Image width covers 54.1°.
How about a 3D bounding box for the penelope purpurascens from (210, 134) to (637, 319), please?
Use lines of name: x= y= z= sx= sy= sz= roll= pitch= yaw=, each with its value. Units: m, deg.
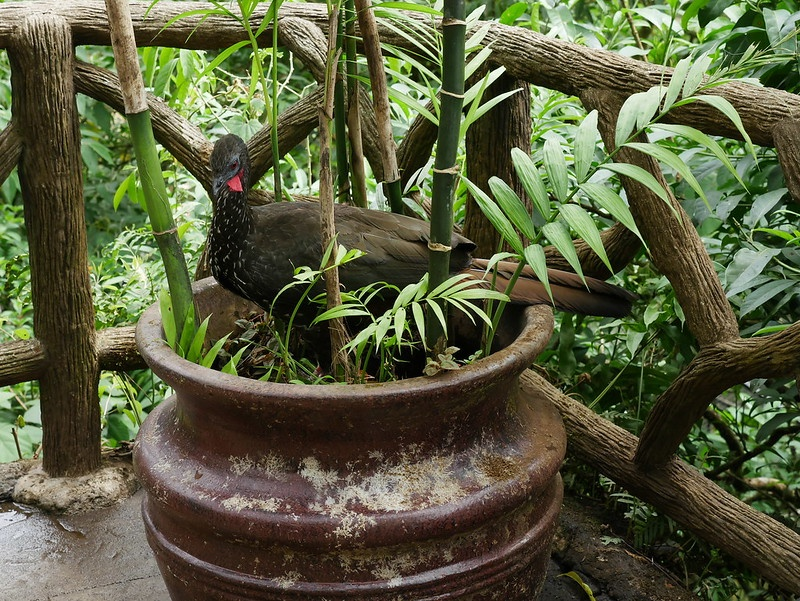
penelope purpurascens: x=-0.130 y=-0.144 z=2.185 sx=0.910 sy=0.555 sz=0.277 roll=-2 pitch=26 yaw=-36
